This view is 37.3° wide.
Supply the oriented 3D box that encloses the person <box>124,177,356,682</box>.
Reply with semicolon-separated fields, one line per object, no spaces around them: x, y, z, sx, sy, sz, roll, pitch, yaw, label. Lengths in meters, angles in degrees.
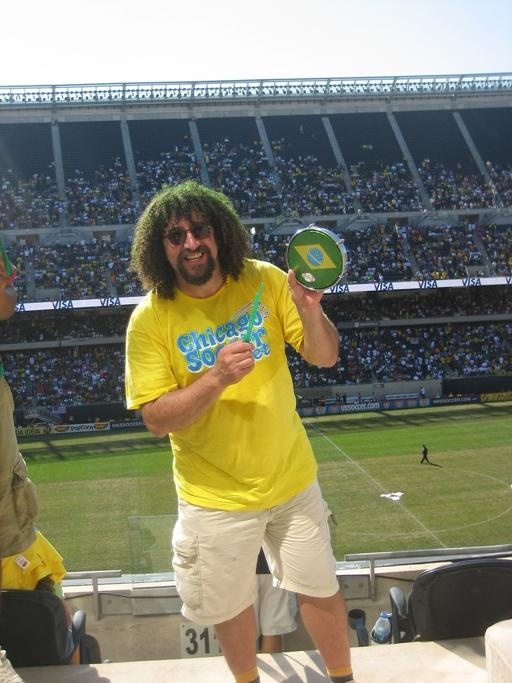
-0.107;0.362;3.280;0.946;2.180;0.607;-3;3;5;person
